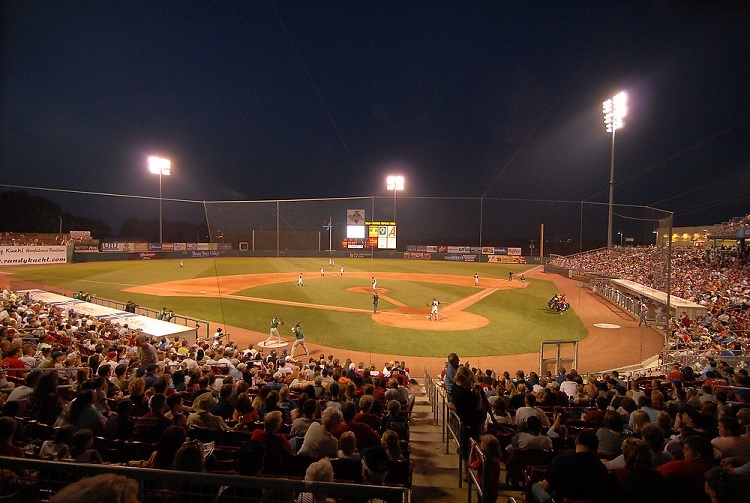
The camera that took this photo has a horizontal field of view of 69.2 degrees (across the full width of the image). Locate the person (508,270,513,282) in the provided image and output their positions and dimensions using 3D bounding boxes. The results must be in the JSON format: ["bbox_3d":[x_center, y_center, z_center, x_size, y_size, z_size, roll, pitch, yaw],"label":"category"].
[{"bbox_3d":[12.052,2.208,47.862,0.653,0.784,1.833,0,-5,11],"label":"person"}]
